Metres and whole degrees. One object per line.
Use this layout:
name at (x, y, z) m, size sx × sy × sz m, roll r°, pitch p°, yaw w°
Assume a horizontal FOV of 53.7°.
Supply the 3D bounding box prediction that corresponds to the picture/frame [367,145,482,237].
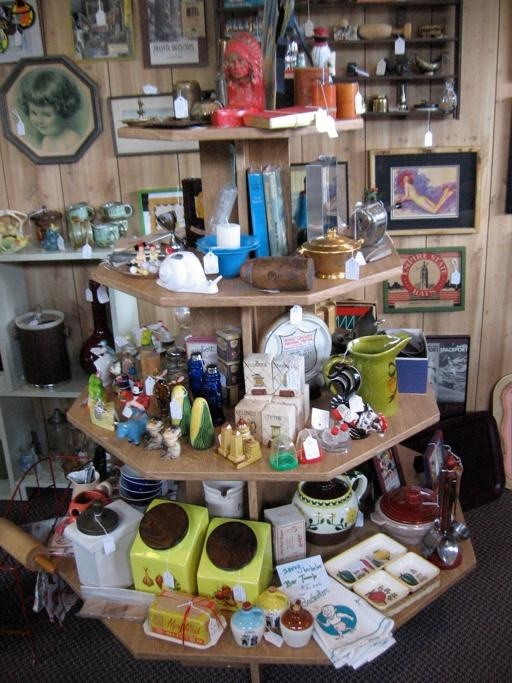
picture/frame at (0.736, -0.680, 2.209) m, size 0.639 × 0.494 × 0.044 m, roll 0°, pitch 21°, yaw -1°

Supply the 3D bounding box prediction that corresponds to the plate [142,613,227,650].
plate at (-0.175, 0.685, 1.184) m, size 0.130 × 0.018 × 0.092 m, roll 6°, pitch 3°, yaw 11°

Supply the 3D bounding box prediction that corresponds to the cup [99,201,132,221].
cup at (-0.630, -0.577, 2.254) m, size 0.084 × 0.059 × 0.128 m, roll 2°, pitch 9°, yaw 6°

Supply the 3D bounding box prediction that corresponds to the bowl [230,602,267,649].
bowl at (-0.019, 0.641, 1.189) m, size 0.092 × 0.096 × 0.094 m, roll 0°, pitch 9°, yaw 0°

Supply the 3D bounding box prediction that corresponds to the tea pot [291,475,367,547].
tea pot at (0.230, 0.483, 1.473) m, size 0.218 × 0.159 × 0.167 m, roll -11°, pitch 8°, yaw -21°

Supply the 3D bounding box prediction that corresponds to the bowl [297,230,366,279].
bowl at (0.166, -0.191, 1.132) m, size 0.118 × 0.087 × 0.116 m, roll -1°, pitch 19°, yaw 0°

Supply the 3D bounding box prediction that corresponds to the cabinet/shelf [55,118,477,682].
cabinet/shelf at (0.054, 0.031, 1.866) m, size 1.417 × 1.612 × 1.394 m, roll -11°, pitch 20°, yaw -25°

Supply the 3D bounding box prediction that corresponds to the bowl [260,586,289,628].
bowl at (0.036, 0.633, 1.201) m, size 0.086 × 0.066 × 0.086 m, roll 6°, pitch -5°, yaw 1°

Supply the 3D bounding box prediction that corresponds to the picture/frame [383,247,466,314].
picture/frame at (0.789, -0.295, 2.336) m, size 0.323 × 0.261 × 0.024 m, roll -1°, pitch 14°, yaw 3°

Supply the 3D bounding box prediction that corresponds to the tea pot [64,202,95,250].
tea pot at (-0.797, -0.530, 2.325) m, size 0.132 × 0.183 × 0.144 m, roll -1°, pitch 24°, yaw 1°

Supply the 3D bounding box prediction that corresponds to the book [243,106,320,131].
book at (0.047, -0.436, 0.994) m, size 0.146 × 0.042 × 0.120 m, roll -4°, pitch 14°, yaw 1°

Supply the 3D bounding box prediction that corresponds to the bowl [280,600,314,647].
bowl at (0.092, 0.641, 1.160) m, size 0.076 × 0.103 × 0.074 m, roll -2°, pitch 9°, yaw 0°

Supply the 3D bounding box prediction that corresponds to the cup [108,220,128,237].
cup at (-0.612, -0.499, 2.253) m, size 0.060 × 0.071 × 0.074 m, roll -10°, pitch 16°, yaw -26°

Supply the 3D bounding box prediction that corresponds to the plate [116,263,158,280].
plate at (-0.293, -0.171, 1.231) m, size 0.065 × 0.013 × 0.063 m, roll 6°, pitch 28°, yaw -3°

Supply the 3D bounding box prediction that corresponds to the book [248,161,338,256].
book at (0.146, -0.328, 1.370) m, size 0.236 × 0.308 × 0.318 m, roll 3°, pitch 25°, yaw 16°

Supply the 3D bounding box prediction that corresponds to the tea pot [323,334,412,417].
tea pot at (0.295, 0.102, 1.366) m, size 0.222 × 0.207 × 0.126 m, roll -11°, pitch 25°, yaw -1°
